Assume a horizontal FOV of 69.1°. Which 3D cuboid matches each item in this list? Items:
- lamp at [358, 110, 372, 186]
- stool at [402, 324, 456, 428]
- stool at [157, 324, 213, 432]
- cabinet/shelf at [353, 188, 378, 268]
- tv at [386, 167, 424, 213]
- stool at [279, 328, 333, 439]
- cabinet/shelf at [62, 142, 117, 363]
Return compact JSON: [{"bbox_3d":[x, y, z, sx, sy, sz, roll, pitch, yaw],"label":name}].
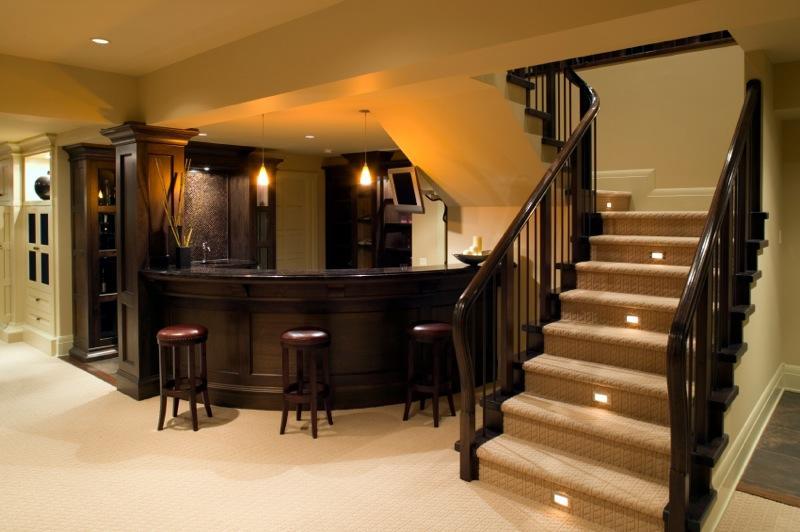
[{"bbox_3d":[-0.420,-1.495,7.345,0.190,0.932,0.183,-4,6,-31],"label":"lamp"},{"bbox_3d":[0.322,1.055,6.079,0.540,1.002,0.876,0,13,5],"label":"stool"},{"bbox_3d":[-2.267,1.076,6.129,0.560,0.985,1.108,-5,14,-19],"label":"stool"},{"bbox_3d":[-0.539,-0.594,9.443,0.336,1.609,0.179,-1,23,-6],"label":"cabinet/shelf"},{"bbox_3d":[0.093,-1.010,7.590,0.234,0.607,0.515,-14,18,-43],"label":"tv"},{"bbox_3d":[-0.931,1.107,5.840,0.535,0.968,0.786,-2,13,-6],"label":"stool"},{"bbox_3d":[-4.192,-0.224,8.316,0.624,2.894,0.995,2,3,31],"label":"cabinet/shelf"}]
